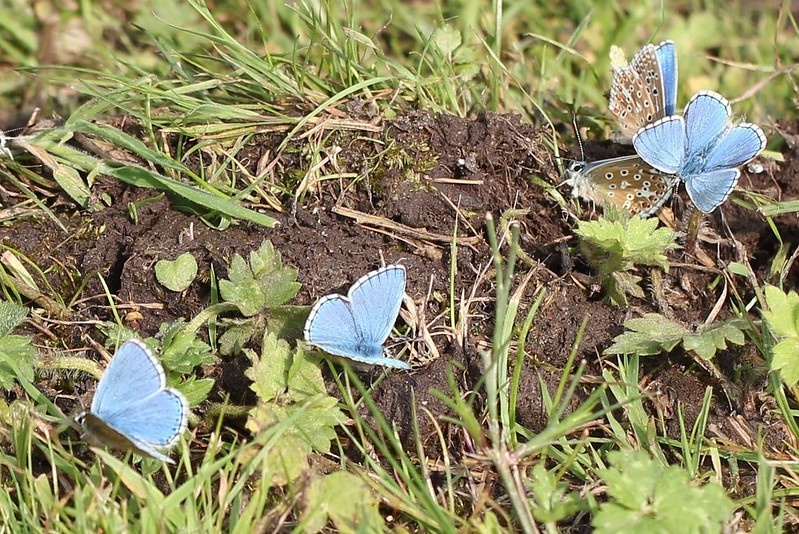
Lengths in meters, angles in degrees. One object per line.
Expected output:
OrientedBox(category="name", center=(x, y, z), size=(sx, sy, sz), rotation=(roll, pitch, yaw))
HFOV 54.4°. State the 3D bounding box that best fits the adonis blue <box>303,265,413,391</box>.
OrientedBox(category="adonis blue", center=(-0.240, 0.228, 4.104), size=(0.493, 0.313, 0.567), rotation=(7, 80, 1))
